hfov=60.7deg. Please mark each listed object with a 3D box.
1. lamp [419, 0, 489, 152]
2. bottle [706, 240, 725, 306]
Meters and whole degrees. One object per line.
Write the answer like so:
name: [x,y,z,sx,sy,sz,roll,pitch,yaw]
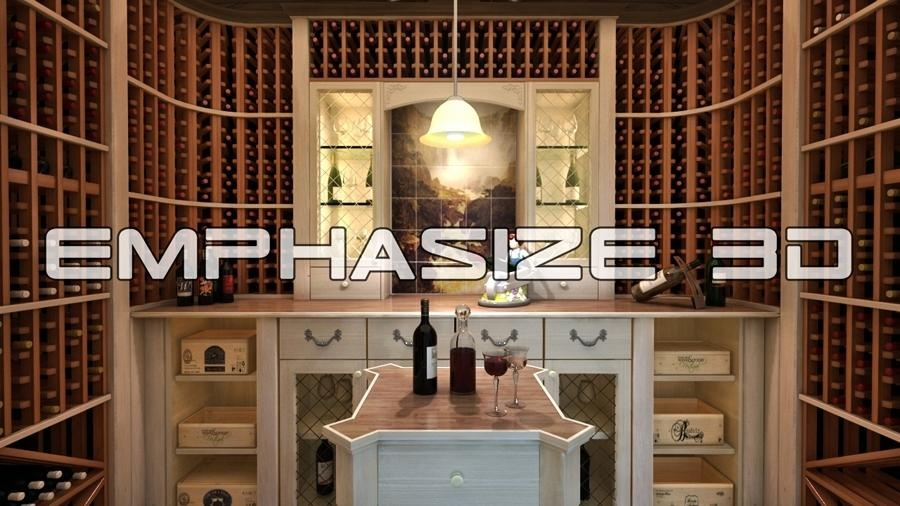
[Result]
lamp: [0.001,-1.471,6.033,0.503,1.286,0.879,-2,1,-7]
bottle: [2.199,0.208,6.391,0.158,0.440,0.166,-2,1,0]
